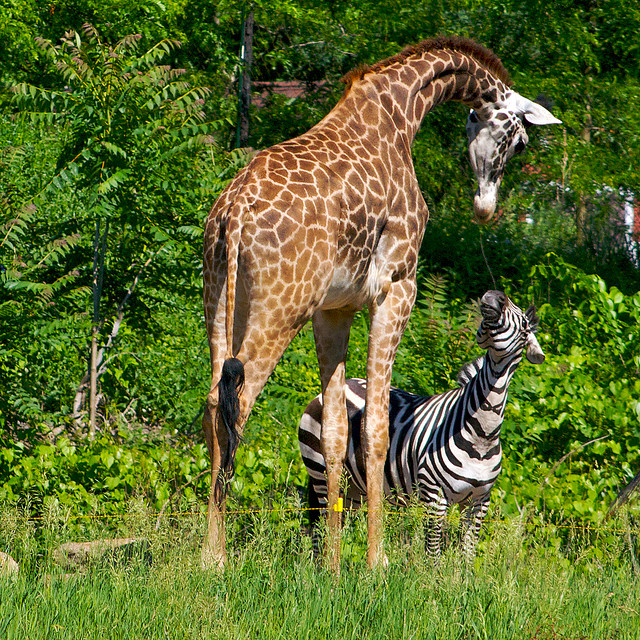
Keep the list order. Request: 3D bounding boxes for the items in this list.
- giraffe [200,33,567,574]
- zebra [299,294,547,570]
[{"bbox_3d":[0.248,-0.275,13.060,2.434,4.657,0.928,13,-14,-36],"label":"giraffe"},{"bbox_3d":[0.847,0.986,13.738,0.730,2.374,2.633,12,-9,-43],"label":"zebra"}]
